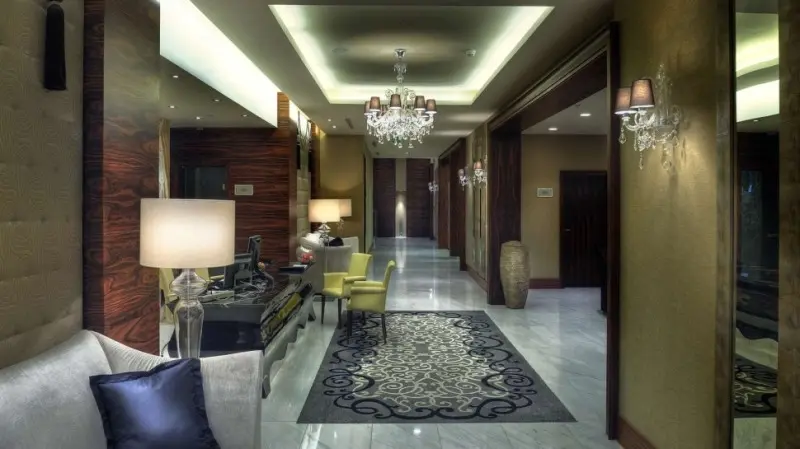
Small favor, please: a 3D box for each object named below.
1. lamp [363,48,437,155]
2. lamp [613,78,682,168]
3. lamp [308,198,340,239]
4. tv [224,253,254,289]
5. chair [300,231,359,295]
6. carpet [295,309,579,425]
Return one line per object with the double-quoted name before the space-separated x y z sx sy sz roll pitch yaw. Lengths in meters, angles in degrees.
"lamp" 0.015 -2.181 8.269 1.326 1.520 1.319 8 12 41
"lamp" 2.283 -1.002 4.583 0.436 0.890 0.689 0 11 -1
"lamp" -1.529 -0.153 9.848 0.794 0.809 0.755 0 6 -6
"tv" -1.858 0.533 5.510 0.280 0.359 0.517 0 4 21
"chair" -1.459 0.711 9.052 1.181 1.114 1.351 1 0 6
"carpet" 0.338 1.781 6.441 2.875 0.172 2.845 0 10 -1
